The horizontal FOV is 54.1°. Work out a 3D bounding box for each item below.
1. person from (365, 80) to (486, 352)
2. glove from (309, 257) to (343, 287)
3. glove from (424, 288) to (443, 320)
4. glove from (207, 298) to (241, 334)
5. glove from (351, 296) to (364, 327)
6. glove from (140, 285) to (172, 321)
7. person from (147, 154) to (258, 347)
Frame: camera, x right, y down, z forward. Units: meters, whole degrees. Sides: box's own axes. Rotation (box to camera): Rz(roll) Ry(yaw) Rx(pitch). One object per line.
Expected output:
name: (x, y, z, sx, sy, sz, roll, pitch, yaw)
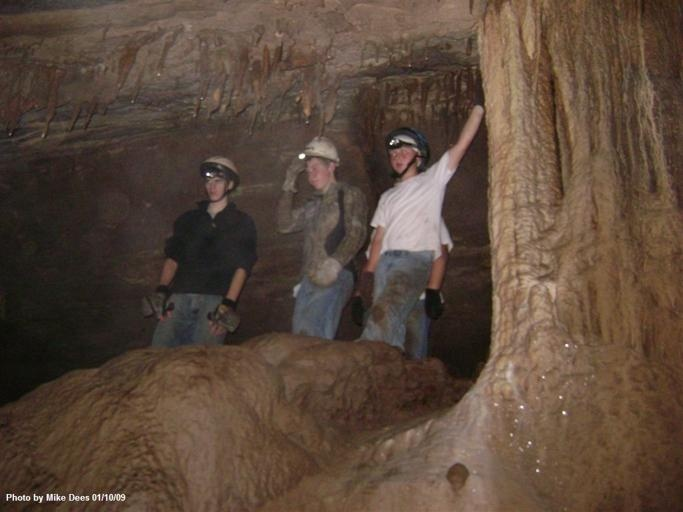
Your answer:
person: (0.556, -0.230, 6.116, 0.976, 2.262, 1.332, -2, 17, -11)
glove: (-0.137, 0.161, 6.274, 0.239, 0.296, 0.115, 38, -3, 14)
glove: (0.847, 0.431, 6.130, 0.135, 0.302, 0.123, -4, -7, 15)
glove: (-1.043, 0.540, 6.059, 0.162, 0.199, 0.424, 8, 8, -41)
glove: (0.157, 0.501, 6.194, 0.127, 0.274, 0.061, 1, 3, 40)
glove: (-1.790, 0.446, 6.465, 0.265, 0.224, 0.663, -42, 10, -19)
person: (-1.315, 0.003, 6.313, 0.985, 1.407, 1.524, 1, 17, -1)
